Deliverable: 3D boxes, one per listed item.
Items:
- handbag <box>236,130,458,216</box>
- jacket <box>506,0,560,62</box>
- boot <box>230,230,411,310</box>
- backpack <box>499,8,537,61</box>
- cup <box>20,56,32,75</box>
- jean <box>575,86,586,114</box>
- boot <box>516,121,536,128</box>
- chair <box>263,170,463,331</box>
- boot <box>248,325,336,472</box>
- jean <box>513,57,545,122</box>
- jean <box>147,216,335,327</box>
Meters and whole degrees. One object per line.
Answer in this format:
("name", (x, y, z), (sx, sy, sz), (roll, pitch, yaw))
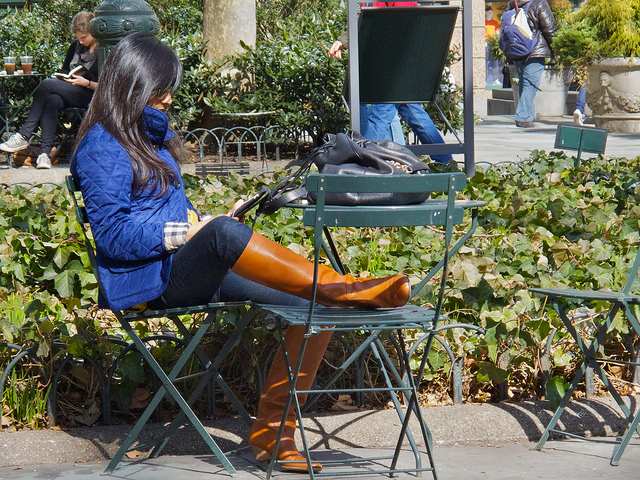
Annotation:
("handbag", (0.070, -0.380, 4.871), (0.771, 0.241, 0.586), (-8, 3, -11))
("jacket", (3.313, -3.225, 14.769), (0.643, 0.951, 0.506), (1, 9, 5))
("boot", (0.012, 0.172, 5.046), (0.810, 0.302, 0.219), (14, -14, -7))
("backpack", (3.030, -3.201, 14.921), (0.418, 0.805, 0.818), (0, 9, -7))
("cup", (-3.255, -1.972, 10.761), (0.165, 0.227, 0.169), (-1, 4, 0))
("jean", (4.242, -2.291, 15.701), (0.124, 0.476, 0.131), (-18, 28, -33))
("boot", (3.405, -1.926, 15.985), (0.343, 0.142, 0.121), (1, 11, -15))
("chair", (0.275, -0.015, 4.905), (0.922, 0.749, 0.810), (0, 9, -10))
("boot", (-0.144, 0.761, 4.866), (0.412, 0.757, 0.315), (3, 10, 15))
("jean", (3.308, -2.380, 15.298), (0.451, 1.021, 1.161), (2, 9, 11))
("jean", (-0.490, 0.104, 5.187), (1.219, 0.494, 0.987), (-1, 6, 15))
